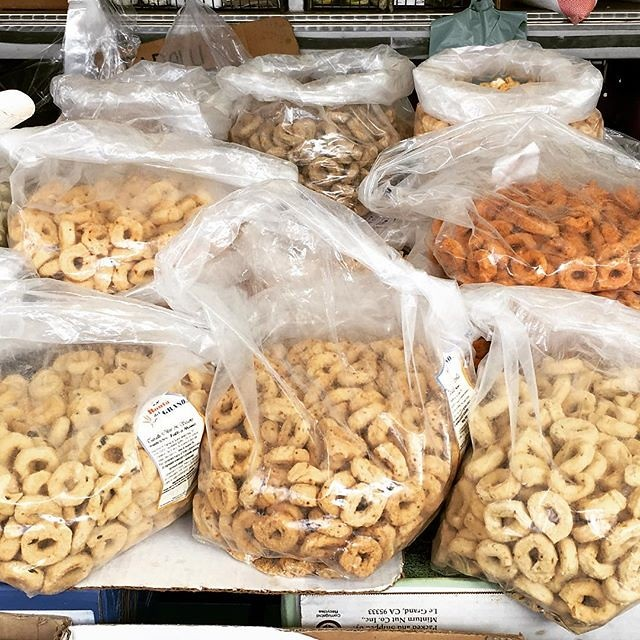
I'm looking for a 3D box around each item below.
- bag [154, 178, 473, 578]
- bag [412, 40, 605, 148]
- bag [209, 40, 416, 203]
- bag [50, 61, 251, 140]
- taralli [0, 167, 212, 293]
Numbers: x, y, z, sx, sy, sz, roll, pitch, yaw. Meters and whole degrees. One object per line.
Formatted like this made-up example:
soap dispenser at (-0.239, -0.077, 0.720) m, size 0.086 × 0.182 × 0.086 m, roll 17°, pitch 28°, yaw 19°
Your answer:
bag at (-0.014, 0.132, 1.028) m, size 0.644 × 0.254 × 0.549 m, roll 5°, pitch 61°, yaw -5°
bag at (0.384, -0.517, 1.335) m, size 0.425 × 0.146 × 0.385 m, roll -7°, pitch 27°, yaw 7°
bag at (-0.022, -0.450, 1.404) m, size 0.441 × 0.297 × 0.393 m, roll -7°, pitch 27°, yaw -12°
bag at (-0.370, -0.466, 1.306) m, size 0.328 × 0.076 × 0.205 m, roll 4°, pitch 32°, yaw -2°
taralli at (-0.363, -0.131, 1.147) m, size 0.299 × 0.081 × 0.252 m, roll -29°, pitch 52°, yaw -25°
